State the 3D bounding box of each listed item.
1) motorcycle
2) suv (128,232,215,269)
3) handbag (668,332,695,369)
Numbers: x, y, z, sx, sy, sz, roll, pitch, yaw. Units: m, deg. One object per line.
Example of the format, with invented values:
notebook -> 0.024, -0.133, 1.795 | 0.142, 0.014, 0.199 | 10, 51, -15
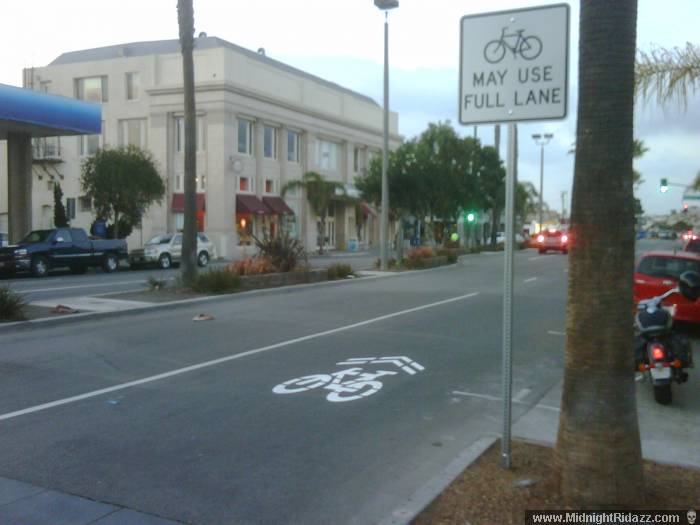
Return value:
motorcycle -> 4.179, 1.050, 9.052 | 0.691, 1.495, 1.252 | 3, 6, 24
suv -> -8.387, -0.585, 31.890 | 3.782, 1.560, 1.963 | -6, 9, -44
handbag -> 4.301, 1.145, 8.873 | 0.252, 0.425, 0.425 | 4, 7, 36
